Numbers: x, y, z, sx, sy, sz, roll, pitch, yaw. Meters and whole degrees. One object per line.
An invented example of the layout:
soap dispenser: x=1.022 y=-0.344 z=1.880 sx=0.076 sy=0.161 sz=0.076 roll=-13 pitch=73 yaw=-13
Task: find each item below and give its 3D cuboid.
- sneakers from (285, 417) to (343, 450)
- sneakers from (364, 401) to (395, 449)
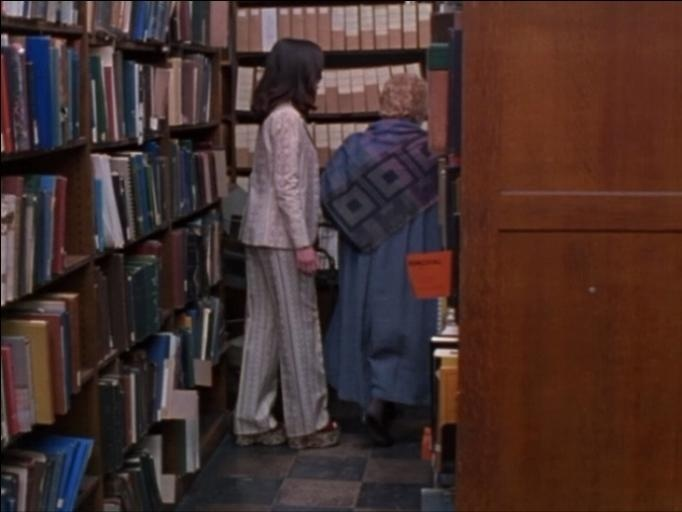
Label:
sneakers: x=-0.133 y=0.838 z=3.956 sx=0.192 sy=0.084 sz=0.122 roll=-5 pitch=1 yaw=22
sneakers: x=0.181 y=0.776 z=4.086 sx=0.084 sy=0.116 sz=0.268 roll=-1 pitch=30 yaw=10
